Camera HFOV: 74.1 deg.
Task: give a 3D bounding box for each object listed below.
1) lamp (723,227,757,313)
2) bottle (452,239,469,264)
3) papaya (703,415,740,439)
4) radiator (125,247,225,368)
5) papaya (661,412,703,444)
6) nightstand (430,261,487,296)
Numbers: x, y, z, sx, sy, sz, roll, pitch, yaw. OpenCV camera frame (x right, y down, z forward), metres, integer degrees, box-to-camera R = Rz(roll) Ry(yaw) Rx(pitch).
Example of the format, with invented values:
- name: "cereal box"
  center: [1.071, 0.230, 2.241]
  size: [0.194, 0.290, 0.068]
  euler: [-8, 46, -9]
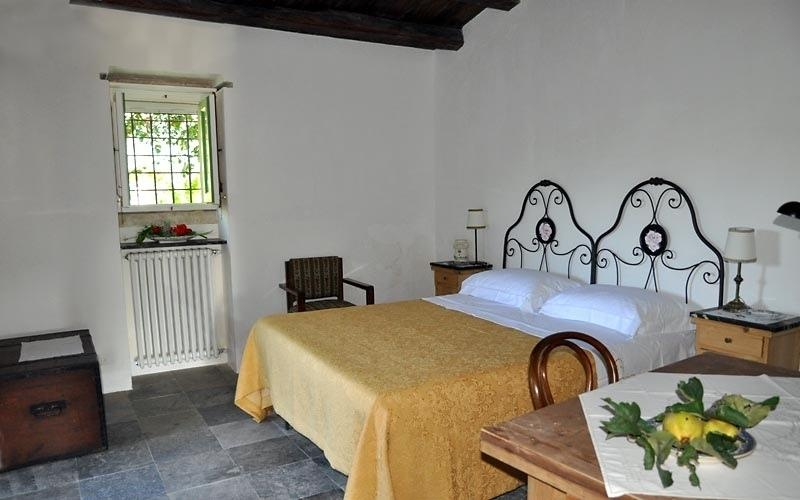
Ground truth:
- name: "lamp"
  center: [2.513, 0.132, 3.922]
  size: [0.196, 0.602, 0.319]
  euler: [9, 18, 35]
- name: "bottle"
  center: [0.676, 0.013, 5.959]
  size: [0.214, 0.331, 0.224]
  euler: [0, 4, 0]
- name: "papaya"
  center: [1.367, 0.754, 2.246]
  size: [0.104, 0.048, 0.081]
  euler: [6, 12, 32]
- name: "radiator"
  center: [-2.289, 0.558, 5.273]
  size: [1.129, 1.335, 0.234]
  euler: [-3, 10, -24]
- name: "papaya"
  center: [1.213, 0.752, 2.254]
  size: [0.173, 0.112, 0.080]
  euler: [1, 14, 6]
- name: "nightstand"
  center: [0.636, 0.187, 5.759]
  size: [0.394, 0.601, 0.514]
  euler: [-3, 6, -30]
